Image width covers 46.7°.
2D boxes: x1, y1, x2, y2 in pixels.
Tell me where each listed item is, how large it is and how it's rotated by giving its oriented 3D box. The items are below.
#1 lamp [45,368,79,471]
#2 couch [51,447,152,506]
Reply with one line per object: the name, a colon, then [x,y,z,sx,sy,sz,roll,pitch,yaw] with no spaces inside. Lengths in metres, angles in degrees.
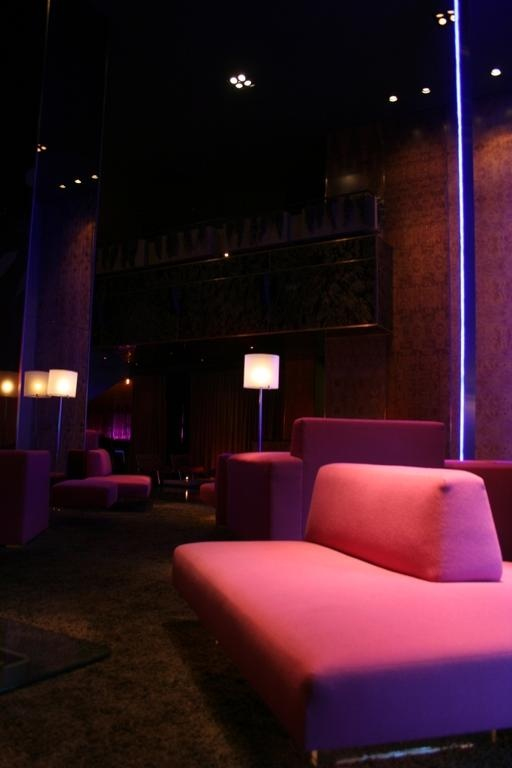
lamp: [-1.943,0.454,5.867,0.218,1.246,0.236,7,3,34]
couch: [-1.479,0.915,5.834,0.745,0.558,1.263,1,-6,-1]
